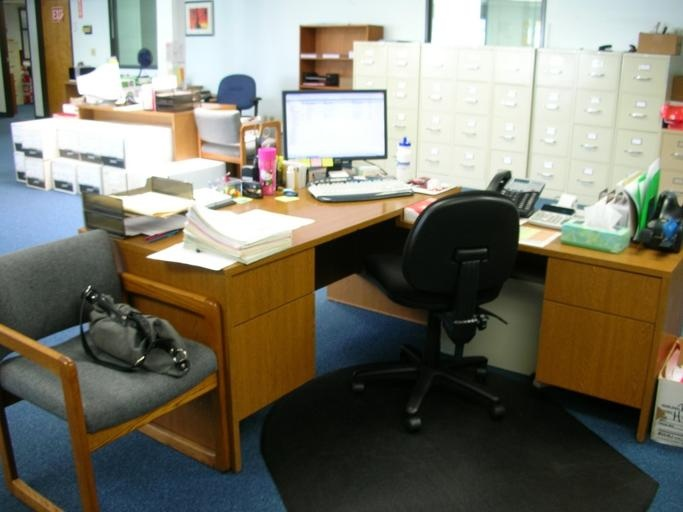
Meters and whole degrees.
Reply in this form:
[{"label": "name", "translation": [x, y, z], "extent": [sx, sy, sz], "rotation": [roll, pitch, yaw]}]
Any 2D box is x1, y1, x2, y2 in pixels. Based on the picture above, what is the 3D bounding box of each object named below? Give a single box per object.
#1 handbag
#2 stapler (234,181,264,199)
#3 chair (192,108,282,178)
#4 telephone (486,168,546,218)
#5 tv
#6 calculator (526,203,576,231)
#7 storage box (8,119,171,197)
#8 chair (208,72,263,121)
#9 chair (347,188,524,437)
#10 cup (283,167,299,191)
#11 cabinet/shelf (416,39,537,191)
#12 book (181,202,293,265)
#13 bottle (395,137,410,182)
[{"label": "handbag", "translation": [-0.851, 0.351, 2.223], "extent": [0.411, 0.173, 0.309], "rotation": [18, 41, -2]}, {"label": "stapler", "translation": [-0.497, -0.363, 3.014], "extent": [0.091, 0.086, 0.118], "rotation": [-2, 2, -37]}, {"label": "chair", "translation": [-1.121, -1.152, 6.019], "extent": [0.788, 0.934, 0.750], "rotation": [7, 22, 16]}, {"label": "telephone", "translation": [0.994, -0.342, 3.123], "extent": [0.308, 0.144, 0.352], "rotation": [16, 50, 30]}, {"label": "tv", "translation": [-0.057, -0.771, 3.308], "extent": [0.473, 0.322, 0.033], "rotation": [-3, 9, -18]}, {"label": "calculator", "translation": [1.156, -0.224, 3.044], "extent": [0.155, 0.062, 0.219], "rotation": [14, 32, 32]}, {"label": "storage box", "translation": [-2.728, -1.098, 6.197], "extent": [2.205, 0.818, 0.642], "rotation": [14, 22, 28]}, {"label": "chair", "translation": [-1.480, -2.190, 7.986], "extent": [0.587, 0.814, 0.530], "rotation": [1, 17, -4]}, {"label": "chair", "translation": [0.494, 0.200, 2.862], "extent": [0.731, 1.150, 0.711], "rotation": [-2, 15, -17]}, {"label": "cup", "translation": [-0.291, -0.447, 3.156], "extent": [0.092, 0.175, 0.092], "rotation": [1, 16, 0]}, {"label": "cabinet/shelf", "translation": [1.559, -1.691, 6.381], "extent": [1.384, 1.793, 0.630], "rotation": [10, 48, 19]}, {"label": "book", "translation": [-0.425, -0.105, 2.351], "extent": [0.309, 0.130, 0.318], "rotation": [15, 24, 32]}, {"label": "bottle", "translation": [0.386, -0.608, 3.405], "extent": [0.084, 0.264, 0.162], "rotation": [3, 19, 4]}]
